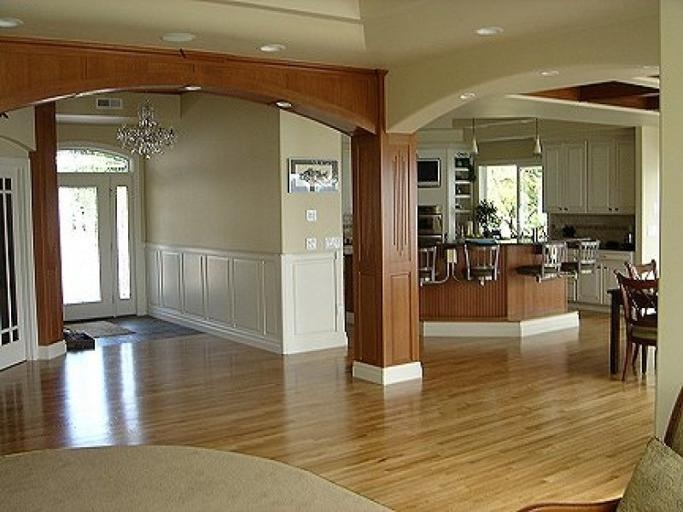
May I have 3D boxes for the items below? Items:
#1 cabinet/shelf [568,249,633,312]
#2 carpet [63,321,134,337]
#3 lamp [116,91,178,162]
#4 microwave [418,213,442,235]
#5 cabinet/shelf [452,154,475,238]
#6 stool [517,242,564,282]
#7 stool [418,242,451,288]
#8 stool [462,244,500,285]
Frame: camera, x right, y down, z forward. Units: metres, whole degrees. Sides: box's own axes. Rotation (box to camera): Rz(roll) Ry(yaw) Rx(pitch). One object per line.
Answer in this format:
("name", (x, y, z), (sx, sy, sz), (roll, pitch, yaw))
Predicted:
("cabinet/shelf", (4.223, 0.357, 8.658), (0.428, 1.063, 1.085), (-2, 4, -30))
("carpet", (-4.134, 1.223, 9.053), (0.779, 0.060, 1.568), (-7, 8, -42))
("lamp", (-2.940, -2.031, 8.140), (0.751, 1.008, 0.752), (-8, 11, -24))
("microwave", (1.918, -0.679, 11.662), (0.707, 0.504, 0.382), (1, -2, 2))
("cabinet/shelf", (2.677, -1.347, 11.869), (0.352, 1.808, 0.251), (1, 8, 19))
("stool", (3.096, 0.137, 8.037), (0.540, 0.716, 0.438), (6, -6, -28))
("stool", (1.405, 0.150, 8.036), (0.499, 0.645, 0.415), (-1, 6, 3))
("stool", (2.116, 0.137, 8.008), (0.559, 0.652, 0.325), (-1, 6, 5))
